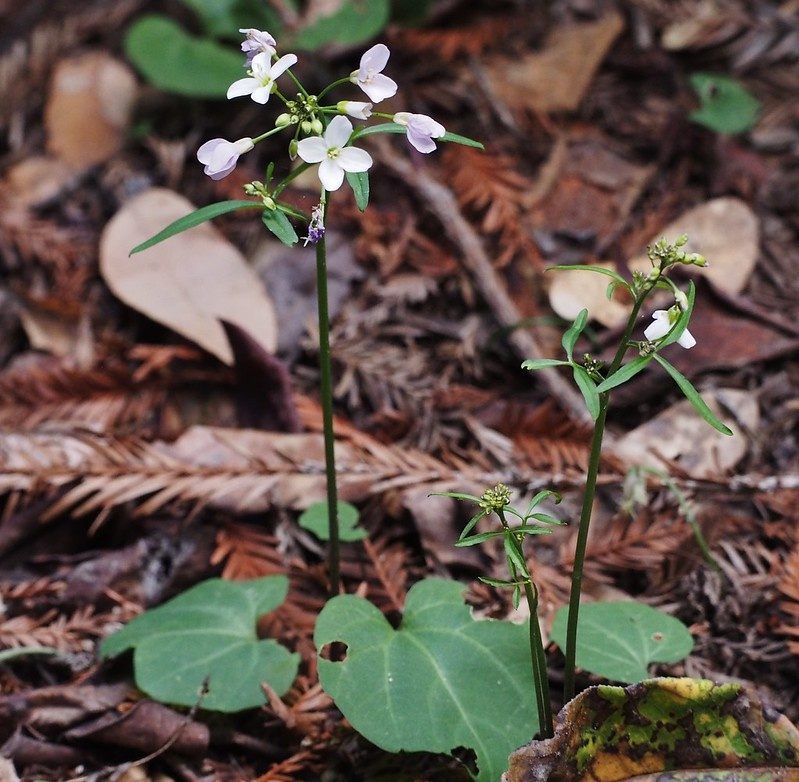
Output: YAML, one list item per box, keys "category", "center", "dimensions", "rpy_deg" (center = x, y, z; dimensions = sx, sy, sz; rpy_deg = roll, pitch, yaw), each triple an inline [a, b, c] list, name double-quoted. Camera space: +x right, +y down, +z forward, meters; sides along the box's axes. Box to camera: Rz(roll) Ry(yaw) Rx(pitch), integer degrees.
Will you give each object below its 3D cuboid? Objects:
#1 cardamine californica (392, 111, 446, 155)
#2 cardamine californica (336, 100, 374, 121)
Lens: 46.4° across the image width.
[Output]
- category: "cardamine californica"
  center: [0.030, -0.752, 2.736]
  dimensions: [0.185, 0.063, 0.106]
  rpy_deg: [27, 72, 13]
- category: "cardamine californica"
  center: [-0.124, -0.794, 2.640]
  dimensions: [0.112, 0.050, 0.039]
  rpy_deg: [7, 41, -1]
